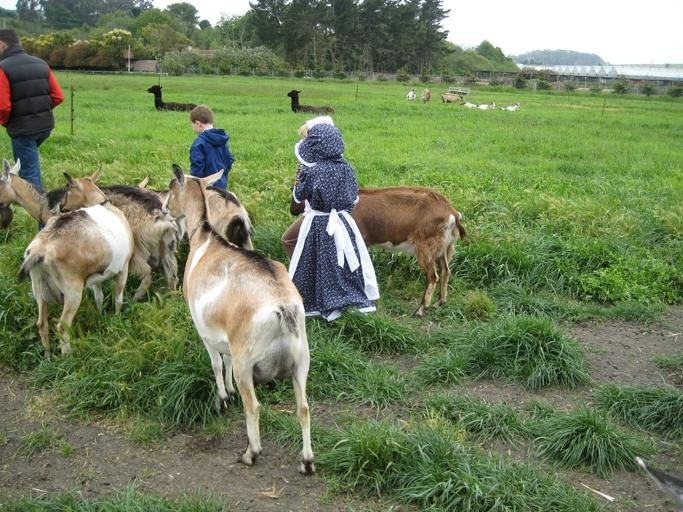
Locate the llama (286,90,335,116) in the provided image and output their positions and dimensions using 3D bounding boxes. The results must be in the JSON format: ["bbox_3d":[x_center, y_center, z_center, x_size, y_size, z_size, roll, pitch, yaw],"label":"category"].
[{"bbox_3d":[-1.606,-7.348,29.085,1.444,0.948,3.219,-12,23,-43],"label":"llama"}]
